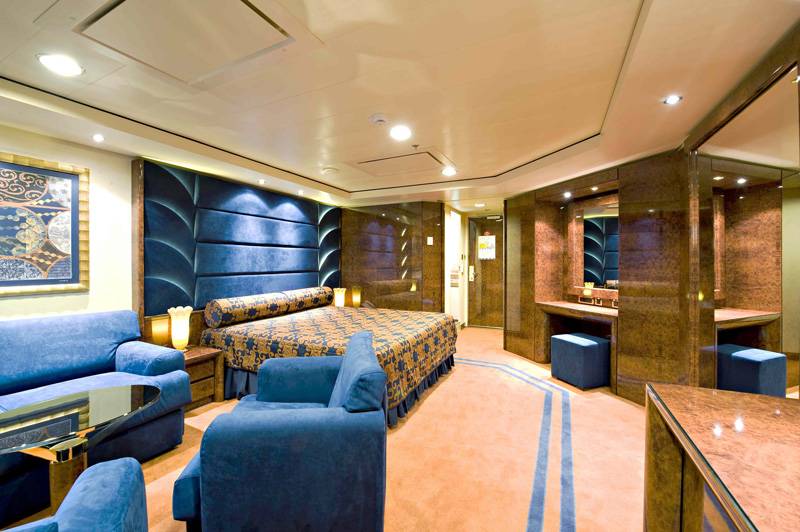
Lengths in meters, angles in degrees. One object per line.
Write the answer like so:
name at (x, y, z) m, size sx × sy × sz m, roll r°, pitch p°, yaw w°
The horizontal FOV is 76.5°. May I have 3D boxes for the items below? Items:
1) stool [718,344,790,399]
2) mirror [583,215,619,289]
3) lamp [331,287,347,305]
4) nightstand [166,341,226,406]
stool at (2.688, 0.789, 3.798) m, size 0.254 × 0.430 × 0.497 m, roll -1°, pitch -2°, yaw -4°
mirror at (2.423, -0.172, 6.076) m, size 0.100 × 0.839 × 0.549 m, roll -1°, pitch -1°, yaw -15°
lamp at (-0.903, 0.457, 7.573) m, size 0.228 × 0.299 × 0.234 m, roll -2°, pitch 4°, yaw -39°
nightstand at (-2.079, 1.122, 5.304) m, size 0.515 × 0.503 × 0.504 m, roll 0°, pitch 1°, yaw 30°
